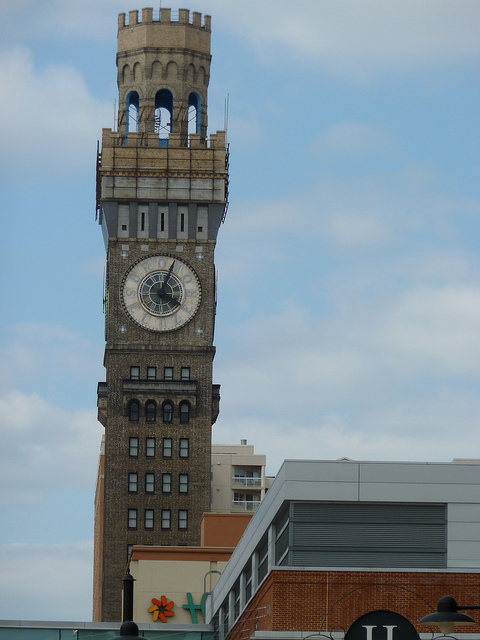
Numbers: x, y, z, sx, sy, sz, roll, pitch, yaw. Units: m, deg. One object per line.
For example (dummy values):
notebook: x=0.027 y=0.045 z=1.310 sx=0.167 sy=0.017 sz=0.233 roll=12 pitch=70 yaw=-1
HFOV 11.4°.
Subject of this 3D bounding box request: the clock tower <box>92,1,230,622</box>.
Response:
clock tower: x=-5.227 y=-1.987 z=153.568 sx=7.534 sy=37.218 sz=16.339 roll=1 pitch=2 yaw=-2
